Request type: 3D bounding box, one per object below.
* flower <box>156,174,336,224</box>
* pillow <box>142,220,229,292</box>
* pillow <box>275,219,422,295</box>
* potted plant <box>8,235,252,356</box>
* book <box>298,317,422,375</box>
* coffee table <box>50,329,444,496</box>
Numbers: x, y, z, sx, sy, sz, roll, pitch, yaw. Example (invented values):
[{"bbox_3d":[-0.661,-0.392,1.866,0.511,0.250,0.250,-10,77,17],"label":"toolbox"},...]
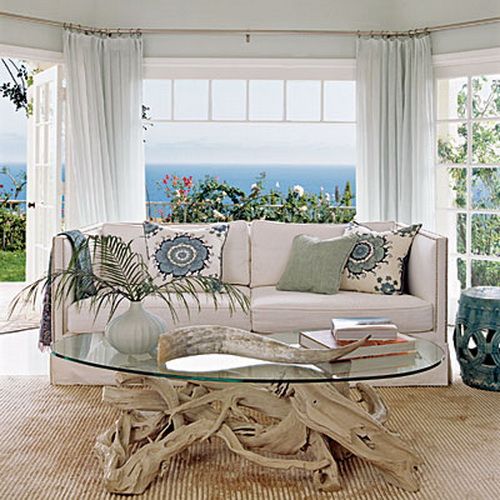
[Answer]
[{"bbox_3d":[-0.012,-0.441,4.384,1.478,0.391,0.489,-1,5,-5],"label":"flower"},{"bbox_3d":[-0.434,0.014,3.237,0.551,0.525,0.166,7,40,-11],"label":"pillow"},{"bbox_3d":[0.576,0.071,3.034,0.603,0.166,0.527,0,38,22],"label":"pillow"},{"bbox_3d":[-0.617,0.176,2.337,0.935,0.418,0.911,0,-2,44],"label":"potted plant"},{"bbox_3d":[0.377,0.336,1.864,0.458,0.113,0.473,1,5,17],"label":"book"},{"bbox_3d":[-0.035,0.578,1.946,1.448,0.510,0.744,1,5,17],"label":"coffee table"}]
